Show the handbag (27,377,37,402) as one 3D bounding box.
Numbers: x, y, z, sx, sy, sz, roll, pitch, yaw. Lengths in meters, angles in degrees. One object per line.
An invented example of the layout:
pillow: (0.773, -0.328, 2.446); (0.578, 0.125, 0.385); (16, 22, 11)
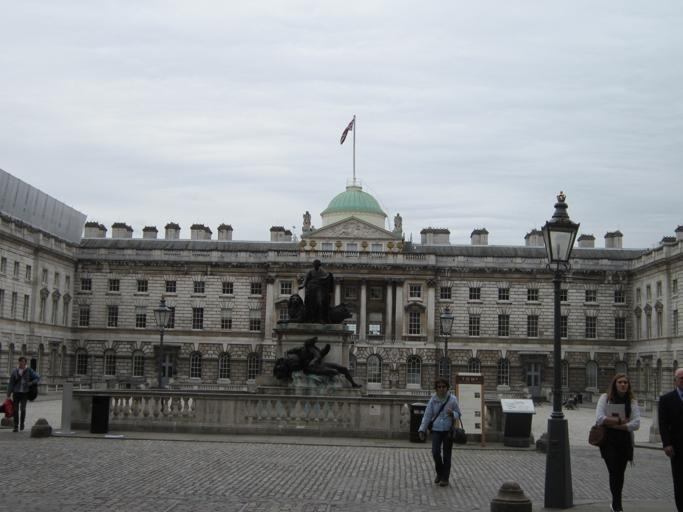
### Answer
handbag: (-9.280, 3.985, 28.314); (0.275, 0.590, 0.651); (3, -10, -16)

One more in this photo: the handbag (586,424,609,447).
handbag: (4.955, 3.495, 18.453); (0.284, 0.409, 0.313); (3, -10, -18)

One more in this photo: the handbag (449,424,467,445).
handbag: (2.624, 4.006, 21.209); (0.267, 0.335, 0.626); (-1, -10, 10)

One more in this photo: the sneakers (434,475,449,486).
sneakers: (2.185, 4.941, 20.749); (0.293, 0.213, 0.328); (-1, -10, 6)
